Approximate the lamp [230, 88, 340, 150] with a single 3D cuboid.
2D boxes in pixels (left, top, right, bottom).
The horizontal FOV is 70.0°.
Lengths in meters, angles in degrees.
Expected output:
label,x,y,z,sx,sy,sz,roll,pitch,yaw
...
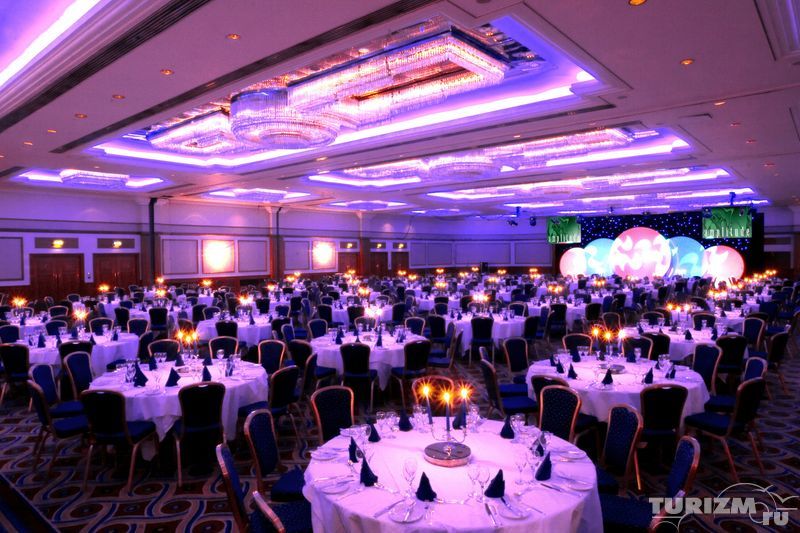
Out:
label,x,y,z,sx,sy,sz,roll,pitch,yaw
lamp,-1.954,-2.402,9.625,1.077,0.383,1.091,0,-3,13
